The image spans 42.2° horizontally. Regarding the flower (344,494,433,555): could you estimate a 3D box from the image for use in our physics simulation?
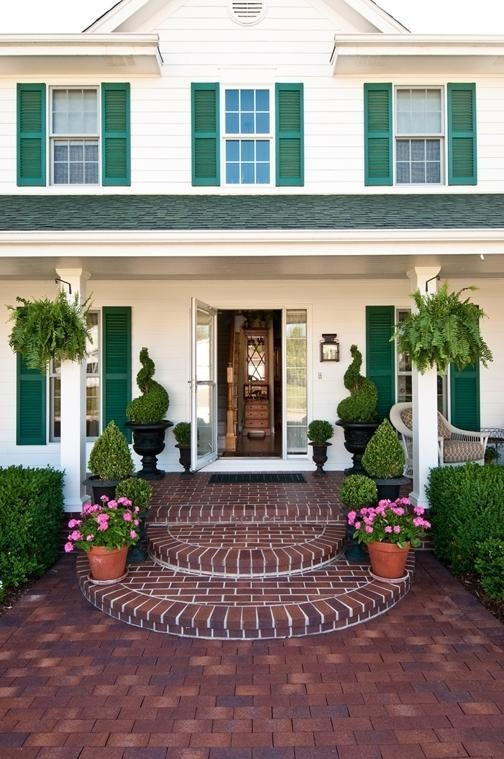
[{"bbox_3d":[1.043,1.057,4.993,0.498,0.380,0.477,1,5,11],"label":"flower"}]

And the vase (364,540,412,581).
[{"bbox_3d":[1.029,1.337,4.944,0.285,0.234,0.301,-1,-7,8],"label":"vase"}]

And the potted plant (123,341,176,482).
[{"bbox_3d":[-1.196,0.394,7.670,0.487,1.442,0.687,-1,12,-5],"label":"potted plant"}]

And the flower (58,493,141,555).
[{"bbox_3d":[-1.091,1.156,5.035,0.479,0.364,0.502,-22,-7,40],"label":"flower"}]

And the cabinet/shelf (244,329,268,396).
[{"bbox_3d":[0.089,-0.305,12.911,0.447,1.283,0.517,0,12,-1],"label":"cabinet/shelf"}]

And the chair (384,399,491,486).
[{"bbox_3d":[2.166,0.669,7.426,0.818,0.975,1.011,0,-3,-16],"label":"chair"}]

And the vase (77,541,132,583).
[{"bbox_3d":[-1.092,1.367,4.891,0.278,0.229,0.293,0,-5,-1],"label":"vase"}]

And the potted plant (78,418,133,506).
[{"bbox_3d":[-1.361,0.720,6.109,0.557,1.061,0.592,1,1,0],"label":"potted plant"}]
